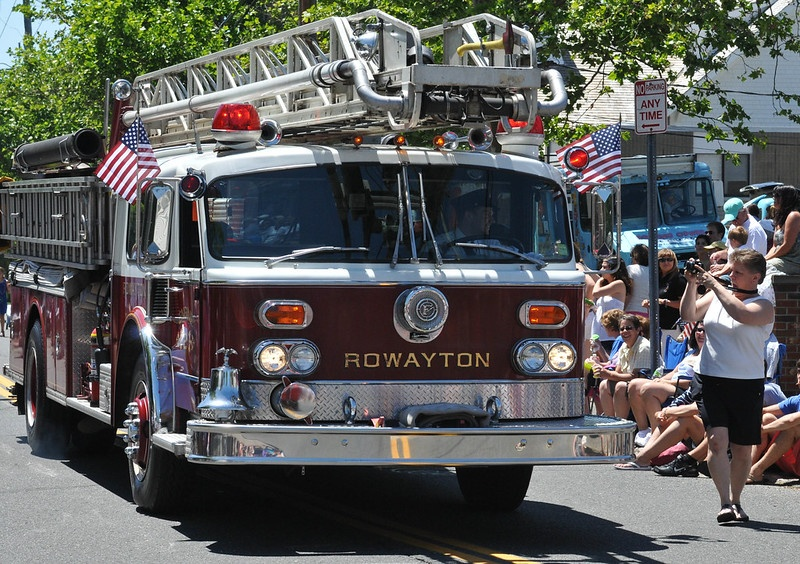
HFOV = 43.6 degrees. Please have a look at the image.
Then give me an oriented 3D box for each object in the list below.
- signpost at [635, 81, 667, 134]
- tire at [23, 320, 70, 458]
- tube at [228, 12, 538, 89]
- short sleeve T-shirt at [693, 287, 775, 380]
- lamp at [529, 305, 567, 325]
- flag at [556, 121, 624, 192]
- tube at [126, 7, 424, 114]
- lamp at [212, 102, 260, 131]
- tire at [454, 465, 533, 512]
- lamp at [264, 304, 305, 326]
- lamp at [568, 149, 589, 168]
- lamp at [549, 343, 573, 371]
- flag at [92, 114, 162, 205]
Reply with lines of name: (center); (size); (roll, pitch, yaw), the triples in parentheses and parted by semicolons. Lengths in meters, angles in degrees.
signpost: (2.828, -1.994, 11.338); (0.330, 0.637, 0.374); (1, 2, 9)
tire: (-4.000, 1.244, 11.401); (0.468, 1.426, 1.401); (-2, 8, -18)
tube: (-0.145, -2.012, 9.052); (1.371, 0.469, 2.162); (0, -2, -35)
short sleeve T-shirt: (2.935, 0.441, 8.862); (0.440, 0.777, 0.602); (2, 0, -32)
lamp: (1.241, 0.285, 8.446); (0.361, 0.174, 0.047); (0, 2, -25)
flag: (1.772, -1.182, 9.427); (0.875, 0.663, 0.031); (-2, -11, -29)
tube: (-1.180, -1.932, 9.789); (1.350, 0.971, 4.073); (-4, 2, -31)
lamp: (-1.393, -1.389, 8.513); (0.275, 0.146, 0.284); (3, 6, 31)
tire: (0.853, 1.900, 9.189); (0.516, 0.540, 0.511); (-4, -9, 25)
lamp: (-0.912, 0.267, 7.981); (0.313, 0.170, 0.055); (0, 2, -21)
lamp: (1.586, -1.094, 9.011); (0.181, 0.180, 0.070); (3, 2, -22)
lamp: (1.350, 0.641, 8.453); (0.228, 0.226, 0.051); (2, 0, -23)
flag: (-2.366, -1.084, 8.830); (0.560, 0.905, 0.046); (2, 32, -23)
